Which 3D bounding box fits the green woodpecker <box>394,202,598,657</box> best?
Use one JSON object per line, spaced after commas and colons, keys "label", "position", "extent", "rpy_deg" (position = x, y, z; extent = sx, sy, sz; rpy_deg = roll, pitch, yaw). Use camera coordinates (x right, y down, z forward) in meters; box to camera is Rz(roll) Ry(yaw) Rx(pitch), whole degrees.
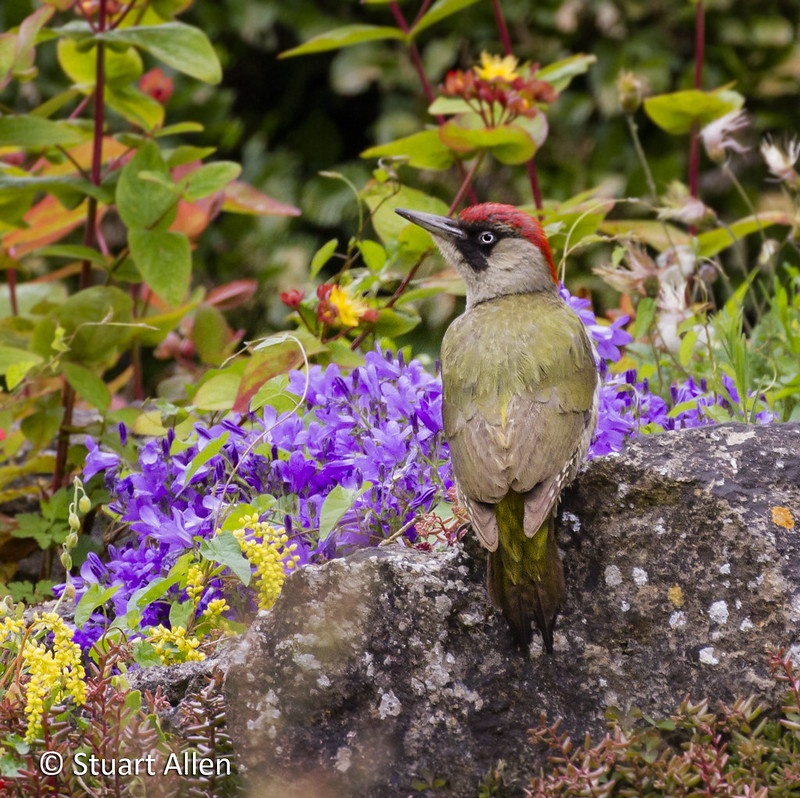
{"label": "green woodpecker", "position": [0.409, 0.047, 4.453], "extent": [0.461, 0.784, 1.427], "rpy_deg": [-8, 47, 14]}
